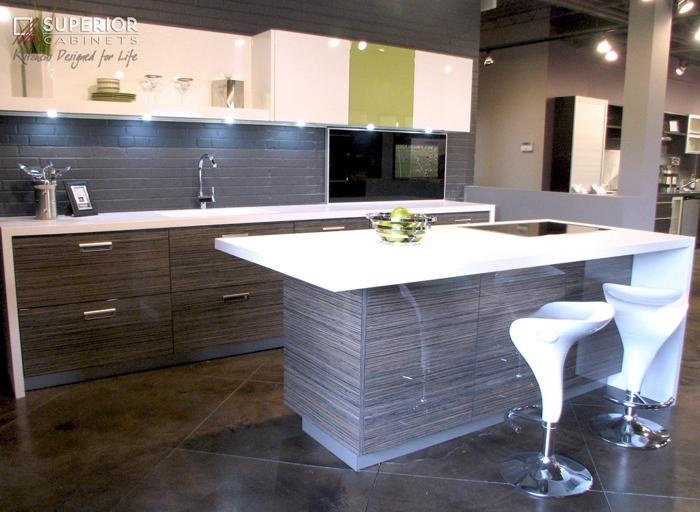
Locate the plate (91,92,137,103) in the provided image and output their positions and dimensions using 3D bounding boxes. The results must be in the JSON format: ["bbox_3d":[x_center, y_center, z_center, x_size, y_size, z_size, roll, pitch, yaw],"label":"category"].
[{"bbox_3d":[-1.804,-1.188,3.853,0.347,0.077,0.255,0,12,-8],"label":"plate"}]

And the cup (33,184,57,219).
[{"bbox_3d":[-2.162,-0.394,3.643,0.140,0.261,0.135,3,16,-1],"label":"cup"}]

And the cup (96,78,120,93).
[{"bbox_3d":[-1.807,-1.270,3.831,0.184,0.088,0.153,0,9,-13],"label":"cup"}]

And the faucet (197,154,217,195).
[{"bbox_3d":[-1.243,-0.712,4.483,0.171,0.364,0.162,-2,17,-16],"label":"faucet"}]

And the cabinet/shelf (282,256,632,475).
[{"bbox_3d":[0.524,0.611,2.804,1.551,0.528,0.449,-4,9,-28],"label":"cabinet/shelf"}]

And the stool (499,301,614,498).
[{"bbox_3d":[1.064,0.722,2.674,0.544,0.939,0.456,5,16,7],"label":"stool"}]

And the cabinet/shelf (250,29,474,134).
[{"bbox_3d":[0.227,-1.593,4.804,2.181,0.743,0.245,-5,18,-28],"label":"cabinet/shelf"}]
